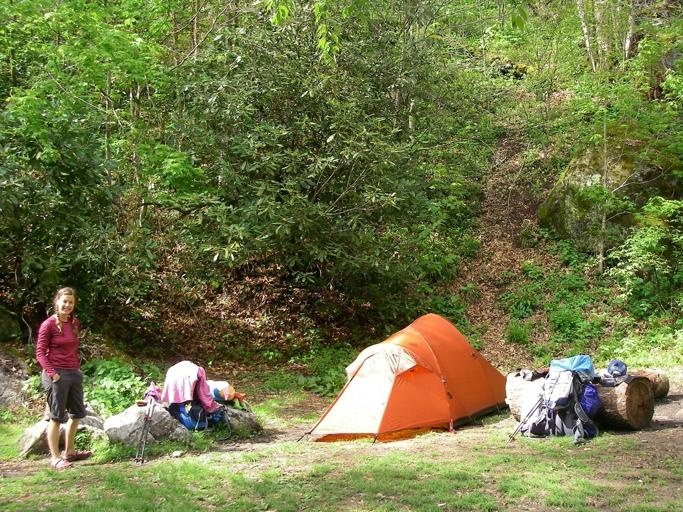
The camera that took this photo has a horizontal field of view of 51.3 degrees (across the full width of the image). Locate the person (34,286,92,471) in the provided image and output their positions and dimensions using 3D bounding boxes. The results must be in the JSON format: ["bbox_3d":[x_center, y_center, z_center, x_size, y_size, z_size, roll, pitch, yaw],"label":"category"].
[{"bbox_3d":[-4.468,1.929,11.318,0.627,2.806,0.400,-5,-4,-24],"label":"person"}]

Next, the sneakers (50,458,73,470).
[{"bbox_3d":[-4.428,3.278,11.235,0.296,0.087,0.130,1,-1,12],"label":"sneakers"}]

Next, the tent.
[{"bbox_3d":[1.534,2.382,13.595,2.174,1.119,2.797,-3,10,32],"label":"tent"}]

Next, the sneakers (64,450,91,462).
[{"bbox_3d":[-4.262,3.238,11.526,0.330,0.151,0.123,-6,4,-22],"label":"sneakers"}]
